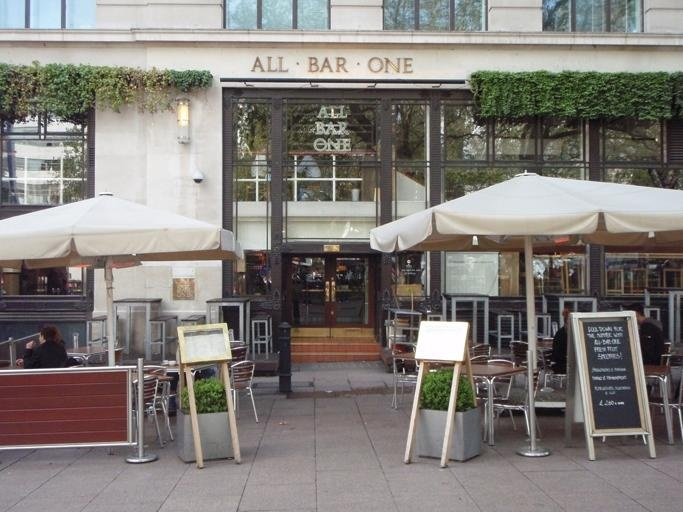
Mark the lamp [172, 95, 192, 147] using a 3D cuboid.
[{"bbox_3d":[-3.993,-3.402,26.454,0.347,1.154,0.238,-2,4,-8],"label":"lamp"}]

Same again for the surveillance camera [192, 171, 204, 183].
[{"bbox_3d":[-3.602,-1.998,26.484,0.268,0.342,0.262,0,13,-1],"label":"surveillance camera"}]

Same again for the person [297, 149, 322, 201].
[{"bbox_3d":[-0.901,-2.137,27.188,0.717,1.540,0.762,-4,-2,-11],"label":"person"}]
